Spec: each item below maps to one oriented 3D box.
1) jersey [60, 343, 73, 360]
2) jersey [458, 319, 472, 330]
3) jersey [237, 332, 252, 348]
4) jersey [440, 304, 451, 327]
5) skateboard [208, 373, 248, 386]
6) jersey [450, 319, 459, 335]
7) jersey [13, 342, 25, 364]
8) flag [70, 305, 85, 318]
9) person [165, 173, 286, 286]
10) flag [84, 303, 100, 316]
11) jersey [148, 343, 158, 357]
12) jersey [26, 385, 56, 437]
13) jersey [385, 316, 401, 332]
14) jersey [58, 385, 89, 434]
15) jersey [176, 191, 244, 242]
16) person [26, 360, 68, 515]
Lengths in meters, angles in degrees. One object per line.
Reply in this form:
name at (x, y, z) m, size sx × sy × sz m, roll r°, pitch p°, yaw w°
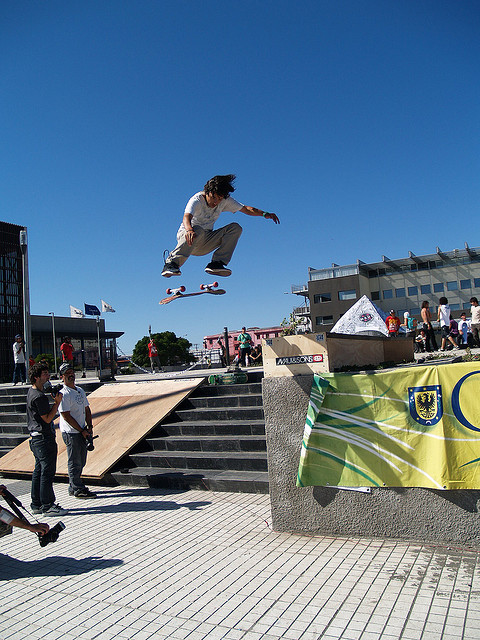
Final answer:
jersey at (-5.407, 0.966, 14.466) m, size 0.302 × 0.525 × 0.674 m, roll -4°, pitch -6°, yaw -21°
jersey at (6.855, 0.123, 14.047) m, size 0.348 × 0.268 × 0.182 m, roll 3°, pitch 1°, yaw 26°
jersey at (0.163, 0.731, 16.551) m, size 0.687 × 0.755 × 0.295 m, roll 0°, pitch -11°, yaw 1°
jersey at (5.678, -0.145, 12.791) m, size 0.271 × 0.404 × 0.306 m, roll -9°, pitch -6°, yaw 23°
skateboard at (-0.210, 1.068, 8.370) m, size 0.716 × 0.196 × 0.399 m, roll -6°, pitch -6°, yaw -2°
jersey at (6.932, 0.222, 14.919) m, size 0.435 × 0.431 × 0.258 m, roll 3°, pitch 16°, yaw 36°
jersey at (-7.503, 1.085, 15.697) m, size 0.295 × 0.674 × 0.696 m, roll -4°, pitch -6°, yaw -24°
flag at (-7.638, -0.394, 21.590) m, size 0.725 × 0.793 × 0.109 m, roll 3°, pitch -9°, yaw -29°
person at (-0.303, -1.097, 5.605) m, size 1.003 × 1.157 × 1.267 m, roll -4°, pitch -6°, yaw -24°
flag at (-7.765, -0.520, 24.100) m, size 0.853 × 0.840 × 0.088 m, roll 1°, pitch -19°, yaw -11°
jersey at (-3.318, 1.133, 17.542) m, size 0.386 × 0.503 × 0.189 m, roll -1°, pitch 2°, yaw 3°
jersey at (-2.284, 1.056, 5.293) m, size 0.255 × 0.588 × 0.378 m, roll -3°, pitch -7°, yaw -28°
jersey at (4.903, 0.117, 14.853) m, size 0.529 × 0.515 × 0.299 m, roll -4°, pitch -34°, yaw 24°
jersey at (-2.093, 1.114, 5.814) m, size 0.408 × 0.618 × 0.296 m, roll -2°, pitch -8°, yaw -40°
jersey at (-0.386, -1.337, 5.720) m, size 0.740 × 0.401 × 0.429 m, roll -4°, pitch -6°, yaw -26°
person at (-2.347, 1.391, 5.572) m, size 0.417 × 1.805 × 1.303 m, roll -4°, pitch -6°, yaw -26°
